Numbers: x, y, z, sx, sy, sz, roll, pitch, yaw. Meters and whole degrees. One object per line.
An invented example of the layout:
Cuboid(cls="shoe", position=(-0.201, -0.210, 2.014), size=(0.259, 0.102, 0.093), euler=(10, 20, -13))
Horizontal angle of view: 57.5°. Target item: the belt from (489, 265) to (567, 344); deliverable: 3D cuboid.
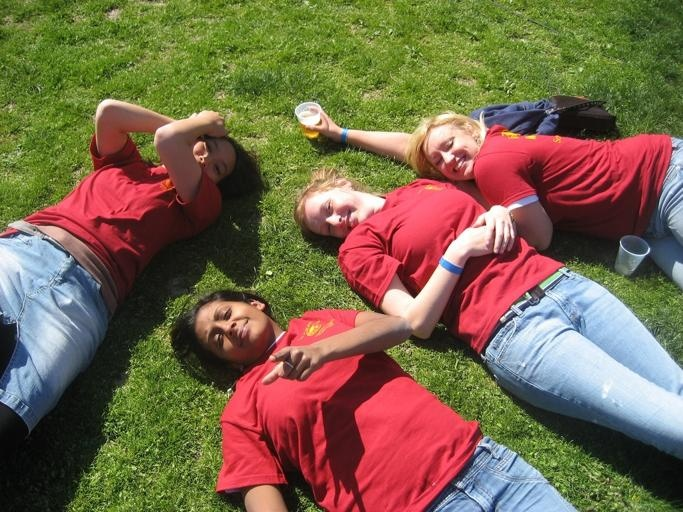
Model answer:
Cuboid(cls="belt", position=(1.433, 0.402, 4.847), size=(0.711, 0.133, 0.119), euler=(-40, 34, -13))
